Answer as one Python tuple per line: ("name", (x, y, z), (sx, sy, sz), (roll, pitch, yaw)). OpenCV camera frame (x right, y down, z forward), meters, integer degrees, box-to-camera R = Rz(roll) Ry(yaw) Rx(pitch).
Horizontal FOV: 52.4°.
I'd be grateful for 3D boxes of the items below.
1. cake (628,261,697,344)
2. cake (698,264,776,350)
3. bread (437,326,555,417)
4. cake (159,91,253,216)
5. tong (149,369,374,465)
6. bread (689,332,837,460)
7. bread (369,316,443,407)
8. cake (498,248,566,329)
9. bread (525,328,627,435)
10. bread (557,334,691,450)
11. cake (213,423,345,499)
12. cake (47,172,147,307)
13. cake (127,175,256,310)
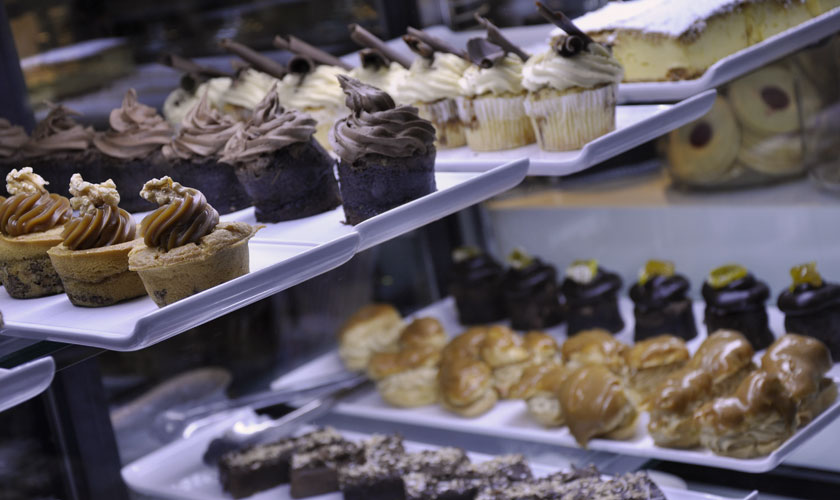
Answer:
("cake", (0.623, 0.123, 2.294), (0.198, 0.218, 0.179), (-12, 11, 14))
("cake", (0.791, 0.130, 2.242), (0.202, 0.228, 0.186), (-4, 13, 2))
("bread", (0.198, 0.295, 2.190), (0.267, 0.101, 0.196), (-12, 33, 3))
("cake", (-0.463, -0.232, 2.001), (0.260, 0.276, 0.250), (0, 14, 3))
("tong", (-0.383, 0.412, 2.162), (0.525, 0.027, 0.169), (-13, 30, -30))
("bread", (0.790, 0.324, 1.938), (0.319, 0.114, 0.213), (-35, 39, -17))
("bread", (-0.034, 0.277, 2.250), (0.199, 0.080, 0.196), (-27, 42, 10))
("cake", (0.303, 0.101, 2.373), (0.121, 0.097, 0.235), (-9, 24, -12))
("bread", (0.386, 0.300, 2.141), (0.255, 0.092, 0.185), (-42, 29, -29))
("bread", (0.505, 0.349, 2.091), (0.300, 0.126, 0.228), (-33, 42, -9))
("cake", (-0.339, 0.489, 2.011), (0.238, 0.063, 0.133), (-16, 29, -19))
("cake", (-0.635, -0.019, 1.688), (0.206, 0.258, 0.257), (-3, 3, -11))
("cake", (-0.444, -0.026, 1.760), (0.250, 0.196, 0.246), (-18, 12, -9))
